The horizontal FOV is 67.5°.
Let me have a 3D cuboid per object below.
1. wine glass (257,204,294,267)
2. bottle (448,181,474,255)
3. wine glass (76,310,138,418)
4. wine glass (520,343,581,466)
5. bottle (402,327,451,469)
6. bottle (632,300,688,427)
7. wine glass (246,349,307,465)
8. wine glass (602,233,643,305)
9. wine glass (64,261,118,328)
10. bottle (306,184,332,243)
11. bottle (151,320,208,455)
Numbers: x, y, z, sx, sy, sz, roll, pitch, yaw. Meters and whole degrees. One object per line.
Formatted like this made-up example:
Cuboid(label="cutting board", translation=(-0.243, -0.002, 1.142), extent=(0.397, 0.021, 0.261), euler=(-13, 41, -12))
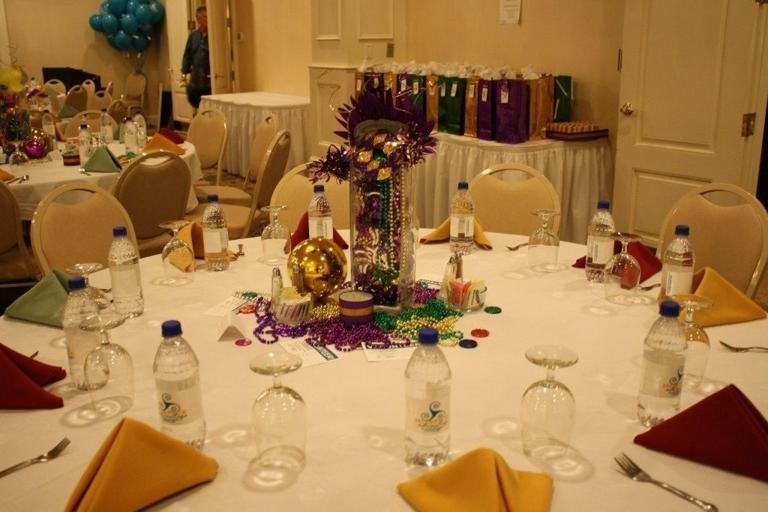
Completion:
Cuboid(label="wine glass", translation=(-0.490, -0.087, 2.567), extent=(0.139, 0.273, 0.141), euler=(1, 8, -1))
Cuboid(label="bottle", translation=(0.363, -0.173, 2.653), extent=(0.152, 0.329, 0.158), euler=(-1, 15, 0))
Cuboid(label="wine glass", translation=(-0.782, 0.311, 1.635), extent=(0.145, 0.277, 0.150), euler=(-3, 10, -8))
Cuboid(label="wine glass", translation=(0.413, 0.358, 1.455), extent=(0.131, 0.248, 0.136), euler=(1, 11, 15))
Cuboid(label="bottle", translation=(0.110, 0.329, 1.379), extent=(0.115, 0.353, 0.090), euler=(0, 18, -2))
Cuboid(label="bottle", translation=(0.753, 0.269, 1.529), extent=(0.111, 0.330, 0.180), euler=(11, 21, 29))
Cuboid(label="wine glass", translation=(-0.265, 0.360, 1.408), extent=(0.139, 0.268, 0.124), euler=(-2, 19, -8))
Cuboid(label="wine glass", translation=(0.927, 0.050, 2.213), extent=(0.136, 0.263, 0.144), euler=(-3, 6, -16))
Cuboid(label="wine glass", translation=(-0.940, 0.125, 1.833), extent=(0.127, 0.211, 0.128), euler=(-17, 17, -7))
Cuboid(label="bottle", translation=(-0.278, -0.170, 2.490), extent=(0.097, 0.290, 0.102), euler=(1, 28, 0))
Cuboid(label="bottle", translation=(-0.525, 0.313, 1.446), extent=(0.118, 0.323, 0.148), euler=(-7, 20, -20))
